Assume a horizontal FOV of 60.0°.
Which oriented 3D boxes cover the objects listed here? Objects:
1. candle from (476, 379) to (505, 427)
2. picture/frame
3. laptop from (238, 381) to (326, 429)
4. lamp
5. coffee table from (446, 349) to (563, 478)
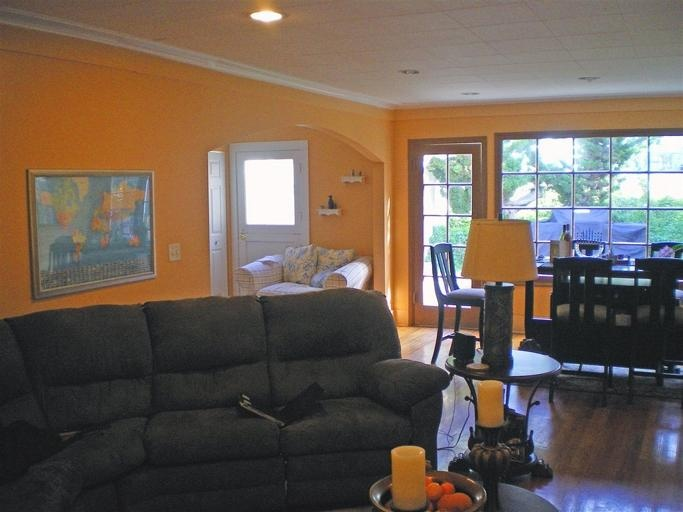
[{"bbox_3d":[0.715,0.704,2.846,0.114,0.215,0.162,-1,6,13],"label":"candle"},{"bbox_3d":[-1.826,-0.155,4.233,0.074,0.811,1.038,0,3,29],"label":"picture/frame"},{"bbox_3d":[-0.349,0.949,3.794,0.528,0.158,0.340,-9,10,-18],"label":"laptop"},{"bbox_3d":[1.022,0.248,3.841,0.467,0.961,0.345,0,6,16],"label":"lamp"},{"bbox_3d":[1.153,1.074,4.134,0.942,0.790,0.901,0,1,-3],"label":"coffee table"}]
